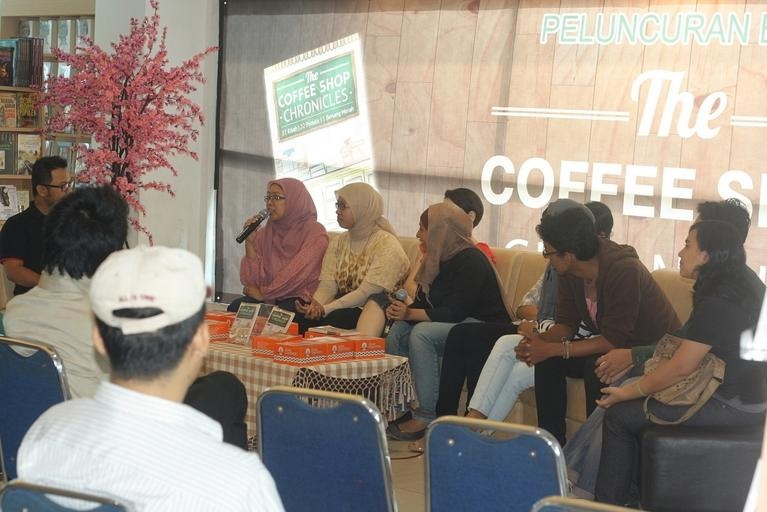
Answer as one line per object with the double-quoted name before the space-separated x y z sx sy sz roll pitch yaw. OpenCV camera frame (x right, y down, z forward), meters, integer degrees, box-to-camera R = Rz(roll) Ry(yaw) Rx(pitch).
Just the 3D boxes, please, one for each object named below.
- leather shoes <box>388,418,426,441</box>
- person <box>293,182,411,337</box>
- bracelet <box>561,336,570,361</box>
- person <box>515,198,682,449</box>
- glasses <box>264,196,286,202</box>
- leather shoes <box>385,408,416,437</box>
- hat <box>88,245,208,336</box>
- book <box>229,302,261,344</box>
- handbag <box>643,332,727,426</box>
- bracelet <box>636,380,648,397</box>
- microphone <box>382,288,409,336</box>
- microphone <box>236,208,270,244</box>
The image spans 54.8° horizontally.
"leather shoes" 0.128 1.086 4.587 0.222 0.168 0.070 -3 -19 29
"person" -0.340 0.020 5.547 0.942 1.261 0.845 3 -3 -35
"bracelet" 1.005 0.519 4.101 0.020 0.089 0.061 1 2 0
"person" 1.105 0.568 4.384 0.638 1.686 0.992 11 34 30
"glasses" -0.795 -0.425 5.430 0.073 0.023 0.074 -3 -6 35
"leather shoes" 0.091 1.040 4.680 0.223 0.201 0.178 0 -8 17
"hat" -0.674 0.074 2.046 0.239 0.270 0.117 -3 -40 -1
"book" -0.779 0.382 4.149 0.206 0.294 0.038 -3 -34 37
"handbag" 1.409 0.614 3.461 0.148 0.406 0.317 32 5 -38
"bracelet" 1.202 0.620 3.467 0.018 0.070 0.051 -13 0 7
"microphone" 0.075 0.317 4.814 0.107 0.399 0.105 11 -4 -14
"microphone" -0.930 -0.227 5.296 0.163 0.231 0.298 2 4 1
